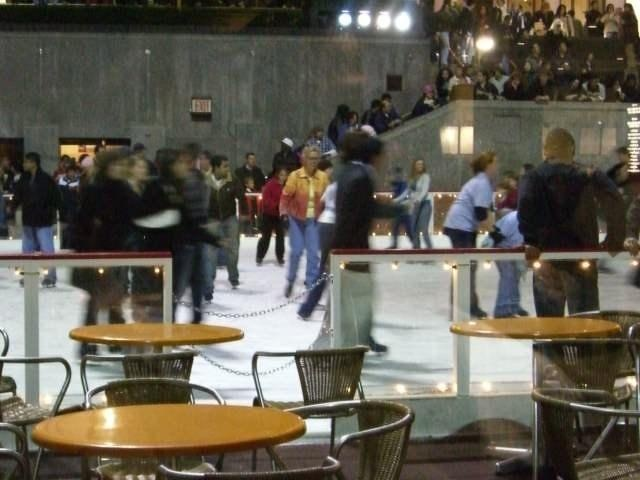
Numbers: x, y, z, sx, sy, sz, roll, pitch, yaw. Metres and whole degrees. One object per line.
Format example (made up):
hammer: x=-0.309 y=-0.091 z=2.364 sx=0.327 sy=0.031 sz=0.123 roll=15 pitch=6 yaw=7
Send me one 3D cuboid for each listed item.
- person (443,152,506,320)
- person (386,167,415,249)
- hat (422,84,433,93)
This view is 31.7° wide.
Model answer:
person: x=1.538 y=-0.138 z=11.713 sx=0.575 sy=1.593 sz=0.510 roll=0 pitch=14 yaw=-21
person: x=1.198 y=-0.412 z=16.318 sx=0.478 sy=1.364 sz=0.411 roll=-5 pitch=27 yaw=-10
hat: x=2.272 y=-3.179 z=23.662 sx=0.162 sy=0.168 sz=0.199 roll=-1 pitch=0 yaw=2
